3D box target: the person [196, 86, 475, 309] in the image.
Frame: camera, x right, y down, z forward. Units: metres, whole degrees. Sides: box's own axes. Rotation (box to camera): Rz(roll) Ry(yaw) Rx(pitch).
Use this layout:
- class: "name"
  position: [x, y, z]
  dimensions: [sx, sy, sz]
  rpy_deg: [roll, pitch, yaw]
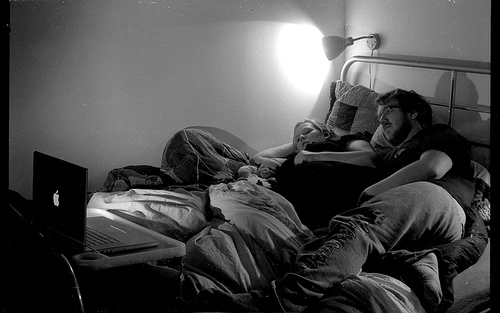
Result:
- class: "person"
  position: [0.480, 0.174, 2.239]
  dimensions: [1.456, 1.091, 0.647]
  rpy_deg: [-17, 5, -8]

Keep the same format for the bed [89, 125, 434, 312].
- class: "bed"
  position: [-0.104, 0.327, 1.775]
  dimensions: [1.053, 0.321, 1.056]
  rpy_deg: [11, 24, -38]

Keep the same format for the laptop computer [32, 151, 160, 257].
- class: "laptop computer"
  position: [-0.615, 0.192, 1.589]
  dimensions: [0.503, 0.348, 0.277]
  rpy_deg: [12, 7, 36]
